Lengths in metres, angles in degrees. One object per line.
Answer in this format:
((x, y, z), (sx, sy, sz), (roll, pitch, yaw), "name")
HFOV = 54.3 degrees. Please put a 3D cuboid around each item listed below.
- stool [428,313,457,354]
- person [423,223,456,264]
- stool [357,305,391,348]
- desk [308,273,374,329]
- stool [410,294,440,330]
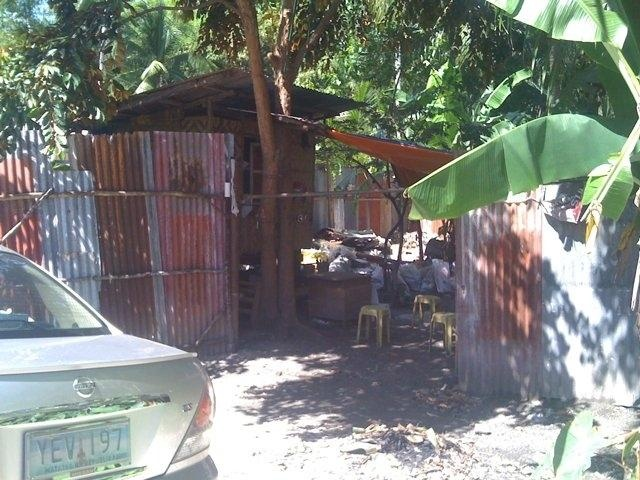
((1.960, 1.435, 9.488), (0.479, 0.589, 0.472), (-2, 0, -13), "stool")
((3.060, 0.014, 16.046), (0.682, 0.987, 1.879), (0, 7, 9), "person")
((0.835, 1.393, 10.299), (0.576, 0.773, 0.630), (0, -2, 20), "stool")
((0.369, 1.096, 11.877), (0.887, 0.923, 0.938), (-1, 0, 19), "desk")
((2.012, 1.270, 11.199), (0.573, 0.616, 0.612), (-4, 7, 34), "stool")
